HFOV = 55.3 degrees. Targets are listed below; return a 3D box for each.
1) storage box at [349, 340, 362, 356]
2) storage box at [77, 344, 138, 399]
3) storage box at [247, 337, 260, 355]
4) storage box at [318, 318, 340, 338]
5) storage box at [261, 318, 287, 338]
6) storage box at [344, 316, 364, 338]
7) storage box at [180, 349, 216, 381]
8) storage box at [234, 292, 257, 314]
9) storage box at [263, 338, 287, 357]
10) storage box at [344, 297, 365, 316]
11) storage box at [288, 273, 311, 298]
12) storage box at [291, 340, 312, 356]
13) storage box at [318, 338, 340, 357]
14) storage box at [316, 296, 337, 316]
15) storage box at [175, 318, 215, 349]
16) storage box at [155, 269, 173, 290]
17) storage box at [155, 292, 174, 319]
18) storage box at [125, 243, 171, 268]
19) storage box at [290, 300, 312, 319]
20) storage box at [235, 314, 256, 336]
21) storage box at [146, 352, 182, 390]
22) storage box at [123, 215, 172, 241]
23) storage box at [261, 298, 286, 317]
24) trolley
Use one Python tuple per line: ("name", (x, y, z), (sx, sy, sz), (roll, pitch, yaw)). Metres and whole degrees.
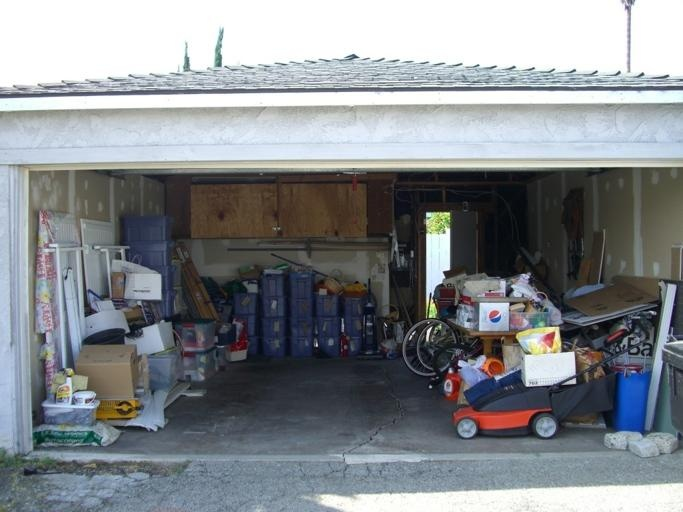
("storage box", (0.232, 1.506, 10.725), (0.218, 0.312, 0.232), (-2, -6, 2))
("storage box", (-2.610, 1.289, 7.255), (0.606, 0.557, 0.308), (-1, 8, -6))
("storage box", (-1.454, 1.492, 10.868), (0.228, 0.286, 0.279), (0, -1, 4))
("storage box", (-0.210, 1.178, 10.732), (0.299, 0.253, 0.315), (0, -2, 4))
("storage box", (-1.103, 1.179, 10.757), (0.299, 0.253, 0.315), (0, -5, -6))
("storage box", (0.196, 1.166, 10.721), (0.342, 0.375, 0.288), (0, -7, 0))
("storage box", (-2.066, 1.508, 9.192), (0.334, 0.231, 0.448), (1, 0, 5))
("storage box", (-1.575, 0.789, 10.813), (0.360, 0.384, 0.312), (2, 3, 6))
("storage box", (-1.108, 1.510, 10.656), (0.297, 0.245, 0.316), (-1, 1, 4))
("storage box", (0.201, 0.845, 10.689), (0.282, 0.307, 0.295), (0, -8, -3))
("storage box", (-0.671, 0.492, 10.638), (0.356, 0.373, 0.376), (0, -2, 0))
("storage box", (-0.649, 1.513, 10.864), (0.267, 0.224, 0.286), (0, -2, 2))
("storage box", (-0.197, 1.492, 10.748), (0.291, 0.309, 0.307), (0, -2, 1))
("storage box", (-0.224, 0.831, 10.702), (0.363, 0.393, 0.303), (0, -5, 0))
("storage box", (-2.081, 1.135, 9.386), (0.427, 0.333, 0.372), (1, -5, -5))
("storage box", (-2.531, 0.340, 9.401), (0.246, 0.284, 0.260), (-1, -4, 0))
("storage box", (-2.480, 0.702, 9.227), (0.253, 0.515, 0.294), (-1, 1, -4))
("storage box", (-2.742, 0.003, 9.285), (0.455, 0.319, 0.319), (-1, -1, -1))
("storage box", (-0.658, 0.868, 10.684), (0.300, 0.314, 0.318), (0, -2, 3))
("storage box", (-1.579, 1.146, 10.786), (0.304, 0.326, 0.310), (0, 2, -8))
("storage box", (-2.225, 1.422, 8.231), (0.325, 0.462, 0.603), (0, -3, 3))
("storage box", (-2.789, -0.378, 9.395), (0.410, 0.287, 0.437), (0, 0, 5))
("storage box", (-1.110, 0.859, 10.830), (0.298, 0.256, 0.308), (0, -7, -3))
("trolley", (2.063, 1.421, 7.558), (2.412, 1.627, 0.907), (1, -1, 3))
